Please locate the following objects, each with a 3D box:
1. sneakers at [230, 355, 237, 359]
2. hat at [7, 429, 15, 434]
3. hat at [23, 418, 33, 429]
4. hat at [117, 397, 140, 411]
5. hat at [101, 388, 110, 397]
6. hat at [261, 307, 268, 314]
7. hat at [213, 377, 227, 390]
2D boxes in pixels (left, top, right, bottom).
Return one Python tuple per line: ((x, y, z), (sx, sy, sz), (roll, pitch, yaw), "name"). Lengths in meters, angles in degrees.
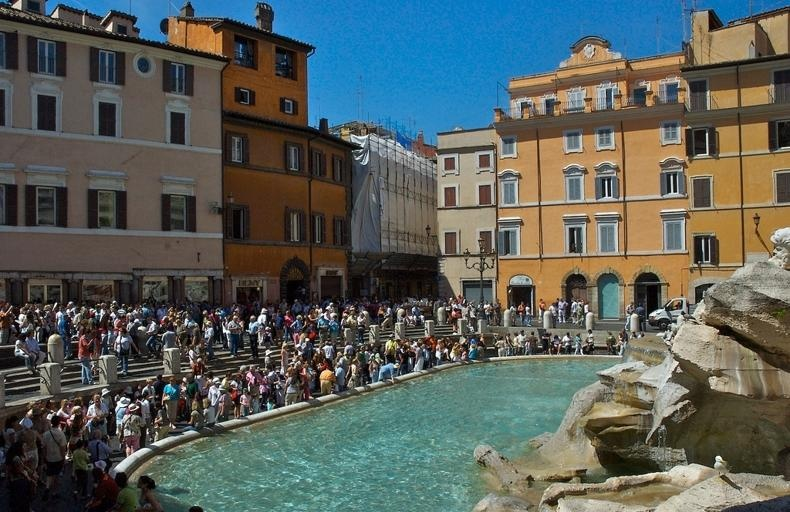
((-7.620, 4.701, 37.739), (0.380, 0.263, 0.128), (-3, -2, 16), "sneakers")
((-12.585, 5.740, 26.291), (0.207, 0.178, 0.353), (0, -4, -25), "hat")
((-12.279, 5.565, 26.725), (0.306, 0.295, 0.420), (0, -4, -25), "hat")
((-9.796, 5.387, 29.379), (0.699, 0.422, 1.233), (2, -5, -43), "hat")
((-10.931, 5.123, 30.197), (0.394, 0.143, 0.363), (-33, -3, 40), "hat")
((-6.524, 2.687, 39.975), (0.258, 0.306, 0.764), (0, -8, -11), "hat")
((-6.925, 5.029, 31.590), (0.465, 0.186, 0.403), (10, 1, 0), "hat")
